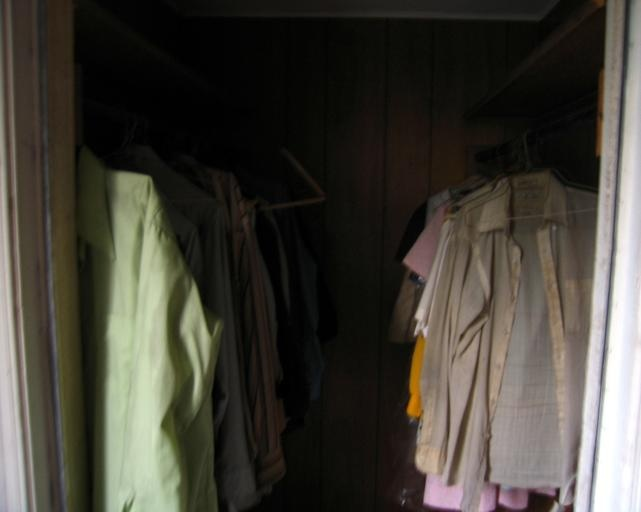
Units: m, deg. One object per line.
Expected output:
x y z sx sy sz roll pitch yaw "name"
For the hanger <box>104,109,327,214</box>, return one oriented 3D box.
-0.209 -0.203 1.410 0.572 0.200 0.108 5 -6 -34 "hanger"
